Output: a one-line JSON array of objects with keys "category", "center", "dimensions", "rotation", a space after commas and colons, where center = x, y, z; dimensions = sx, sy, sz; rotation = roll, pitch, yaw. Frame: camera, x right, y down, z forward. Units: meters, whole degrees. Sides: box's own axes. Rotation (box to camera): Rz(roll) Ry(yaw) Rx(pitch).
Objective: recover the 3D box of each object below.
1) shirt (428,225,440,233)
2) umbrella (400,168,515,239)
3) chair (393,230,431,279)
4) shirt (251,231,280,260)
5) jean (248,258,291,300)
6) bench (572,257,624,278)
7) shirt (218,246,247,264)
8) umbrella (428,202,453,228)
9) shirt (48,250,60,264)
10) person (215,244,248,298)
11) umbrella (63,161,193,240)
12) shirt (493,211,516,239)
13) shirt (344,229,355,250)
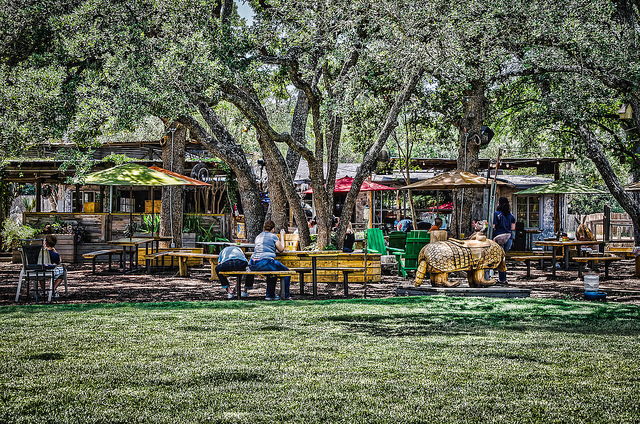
[{"category": "shirt", "center": [3.693, 0.536, 25.130], "dimensions": [0.277, 0.218, 0.374], "rotation": [-4, -10, 26]}, {"category": "umbrella", "center": [5.178, -0.342, 29.045], "dimensions": [3.071, 2.045, 3.204], "rotation": [1, -1, 1]}, {"category": "chair", "center": [2.758, 1.313, 23.848], "dimensions": [1.112, 1.476, 1.391], "rotation": [1, 1, -7]}, {"category": "shirt", "center": [-1.411, 0.886, 20.600], "dimensions": [0.717, 0.691, 0.405], "rotation": [7, -12, 3]}, {"category": "jean", "center": [-1.256, 1.521, 19.905], "dimensions": [0.907, 0.461, 1.390], "rotation": [0, -1, 2]}, {"category": "bench", "center": [8.168, 1.583, 23.469], "dimensions": [1.735, 0.648, 0.979], "rotation": [-1, 9, -16]}, {"category": "shirt", "center": [-2.230, 1.073, 19.809], "dimensions": [0.610, 0.400, 0.751], "rotation": [1, 1, -9]}, {"category": "umbrella", "center": [5.253, 0.134, 33.773], "dimensions": [0.796, 0.604, 1.235], "rotation": [0, -1, -5]}, {"category": "shirt", "center": [-6.797, 1.147, 20.102], "dimensions": [0.169, 0.403, 0.367], "rotation": [6, 10, 24]}, {"category": "person", "center": [-2.264, 1.436, 20.123], "dimensions": [0.759, 1.575, 1.063], "rotation": [3, -29, -13]}, {"category": "umbrella", "center": [-6.725, -0.386, 27.745], "dimensions": [3.097, 1.986, 3.131], "rotation": [-1, 0, 31]}, {"category": "shirt", "center": [5.355, 0.374, 22.796], "dimensions": [0.829, 0.929, 0.505], "rotation": [2, 1, -4]}, {"category": "shirt", "center": [0.901, 0.897, 24.939], "dimensions": [0.444, 0.752, 0.416], "rotation": [2, -2, -40]}]
